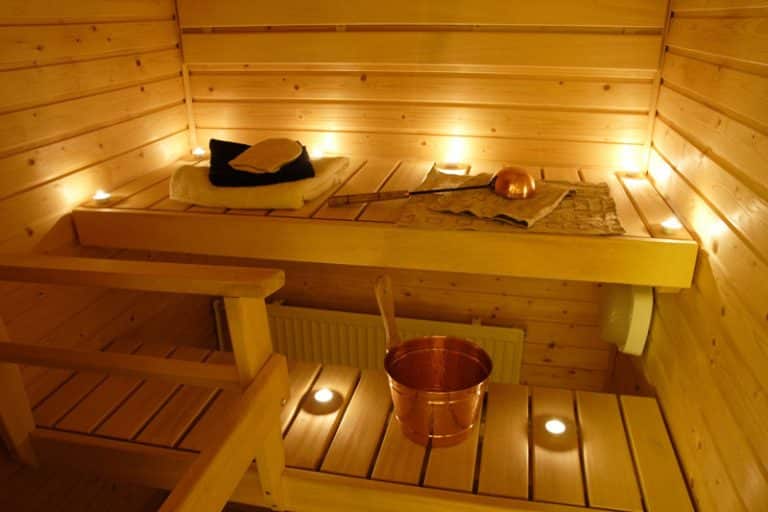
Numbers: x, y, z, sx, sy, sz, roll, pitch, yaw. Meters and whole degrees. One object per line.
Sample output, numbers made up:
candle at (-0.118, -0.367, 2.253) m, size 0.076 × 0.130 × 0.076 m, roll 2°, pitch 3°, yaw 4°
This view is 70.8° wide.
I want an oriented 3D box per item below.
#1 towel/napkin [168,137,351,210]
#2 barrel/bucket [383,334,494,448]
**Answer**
towel/napkin at (-0.552, -0.320, 2.212) m, size 0.503 × 0.442 × 0.124 m, roll 1°, pitch -65°, yaw 2°
barrel/bucket at (0.201, 0.482, 1.949) m, size 0.444 × 0.391 × 0.237 m, roll 1°, pitch -68°, yaw 7°
